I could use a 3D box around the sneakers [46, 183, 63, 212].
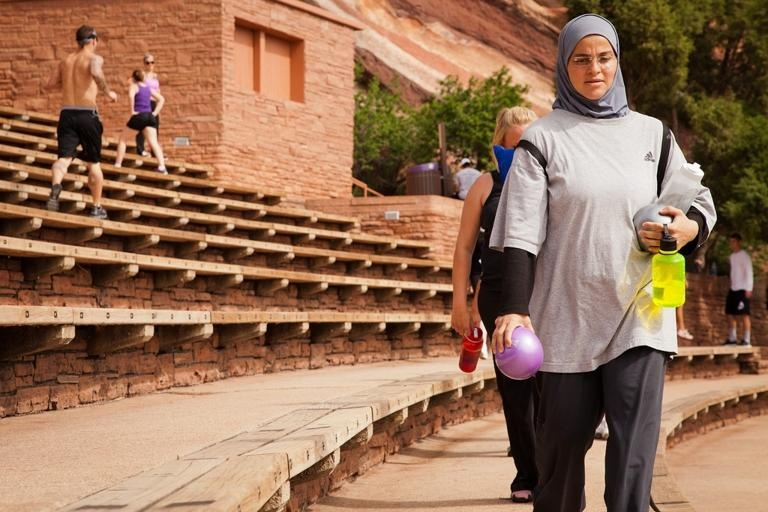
[{"bbox_3d":[-3.492,-0.625,8.951,0.136,0.271,0.217,-3,4,-6],"label":"sneakers"}]

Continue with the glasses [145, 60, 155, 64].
[{"bbox_3d":[-3.990,-3.315,14.490,0.070,0.068,0.149,0,4,30],"label":"glasses"}]

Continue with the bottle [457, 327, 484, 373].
[{"bbox_3d":[0.640,0.686,6.263,0.169,0.374,0.405,-2,4,6],"label":"bottle"}]

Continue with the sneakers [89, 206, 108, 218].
[{"bbox_3d":[-3.097,-0.480,9.283,0.107,0.104,0.241,3,3,18],"label":"sneakers"}]

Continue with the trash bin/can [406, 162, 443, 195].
[{"bbox_3d":[0.853,-1.668,18.219,0.760,0.684,0.508,-2,4,3],"label":"trash bin/can"}]

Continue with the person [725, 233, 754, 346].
[{"bbox_3d":[6.900,0.633,16.544,0.457,2.197,1.114,-1,4,21],"label":"person"}]
